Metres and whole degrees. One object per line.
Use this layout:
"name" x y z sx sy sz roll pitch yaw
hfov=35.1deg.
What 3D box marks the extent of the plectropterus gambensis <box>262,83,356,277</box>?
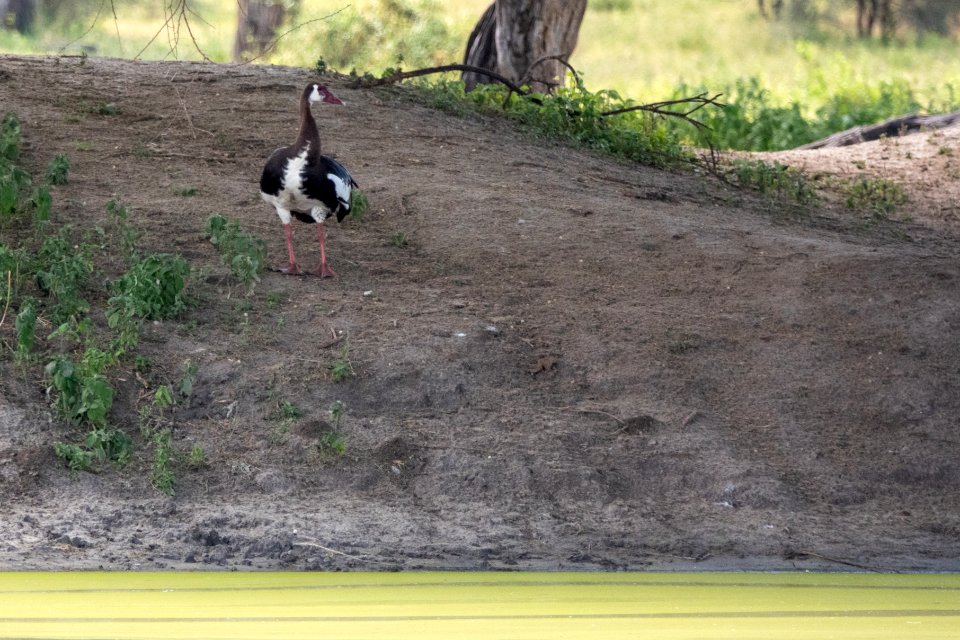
"plectropterus gambensis" -1.921 -1.583 17.213 0.952 2.169 0.920 7 10 8
